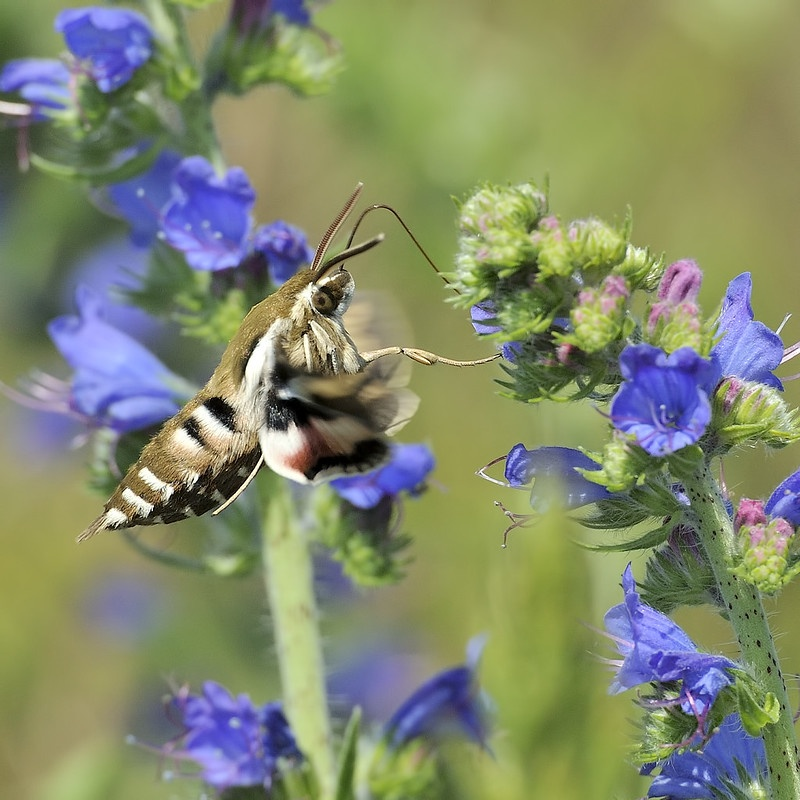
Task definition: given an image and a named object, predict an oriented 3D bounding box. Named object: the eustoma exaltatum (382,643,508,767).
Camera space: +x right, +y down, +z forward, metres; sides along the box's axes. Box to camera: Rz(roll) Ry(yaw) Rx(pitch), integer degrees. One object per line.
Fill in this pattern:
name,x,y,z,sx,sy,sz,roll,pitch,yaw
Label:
eustoma exaltatum,0.162,0.859,3.515,0.169,0.369,0.373,-19,-50,38
